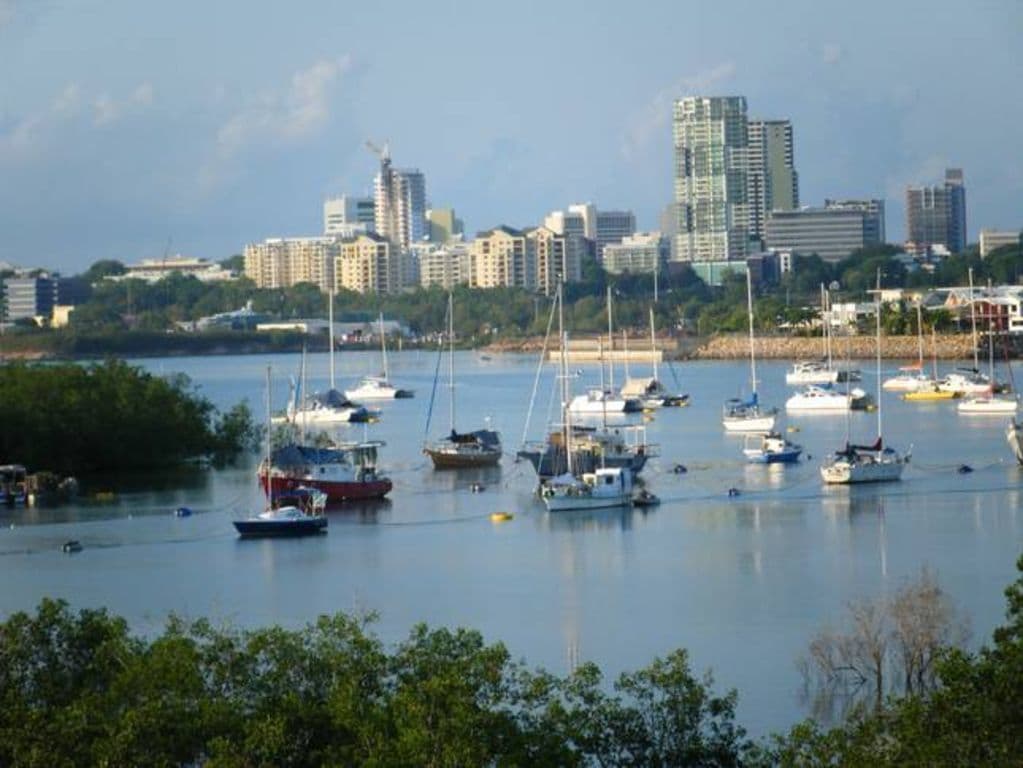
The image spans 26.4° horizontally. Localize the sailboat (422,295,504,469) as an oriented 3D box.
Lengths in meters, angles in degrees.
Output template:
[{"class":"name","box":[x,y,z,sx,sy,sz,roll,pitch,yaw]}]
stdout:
[{"class":"sailboat","box":[-3.160,0.060,98.996,1.752,7.990,4.952,-13,-7,27]}]
